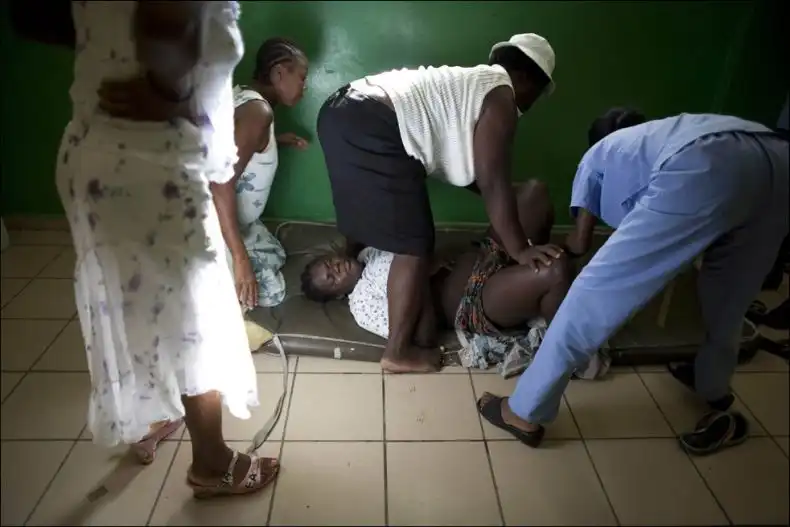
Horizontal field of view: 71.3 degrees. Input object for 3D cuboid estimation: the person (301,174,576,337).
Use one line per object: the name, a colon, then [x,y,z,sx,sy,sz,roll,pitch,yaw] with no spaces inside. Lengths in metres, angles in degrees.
person: [0.222,0.124,2.661,1.081,0.430,0.750,-18,27,7]

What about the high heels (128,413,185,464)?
high heels: [-0.988,0.732,2.303,0.084,0.098,0.231,8,29,15]

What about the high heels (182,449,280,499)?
high heels: [-0.639,0.842,2.150,0.323,0.133,0.162,-7,34,-11]

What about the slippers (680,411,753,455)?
slippers: [1.377,0.757,2.409,0.320,0.096,0.146,-12,57,-7]

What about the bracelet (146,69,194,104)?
bracelet: [-0.676,-0.529,1.649,0.103,0.080,0.104,31,37,19]

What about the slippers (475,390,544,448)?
slippers: [0.485,0.688,2.399,0.142,0.106,0.335,-34,48,-21]

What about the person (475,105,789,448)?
person: [1.040,0.031,2.250,1.041,1.174,0.602,1,34,-1]

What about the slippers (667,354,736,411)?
slippers: [1.421,0.550,2.639,0.129,0.152,0.368,-27,52,-2]
